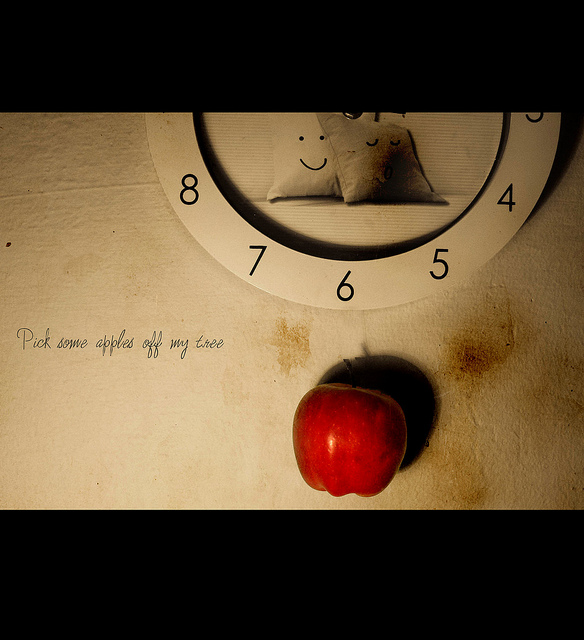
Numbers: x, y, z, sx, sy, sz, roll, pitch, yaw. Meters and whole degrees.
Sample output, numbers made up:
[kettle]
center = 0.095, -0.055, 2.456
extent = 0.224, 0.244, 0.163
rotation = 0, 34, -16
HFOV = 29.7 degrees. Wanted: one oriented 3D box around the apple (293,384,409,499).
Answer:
[apple]
center = 0.093, 0.172, 1.839
extent = 0.170, 0.235, 0.215
rotation = -2, 18, 1
